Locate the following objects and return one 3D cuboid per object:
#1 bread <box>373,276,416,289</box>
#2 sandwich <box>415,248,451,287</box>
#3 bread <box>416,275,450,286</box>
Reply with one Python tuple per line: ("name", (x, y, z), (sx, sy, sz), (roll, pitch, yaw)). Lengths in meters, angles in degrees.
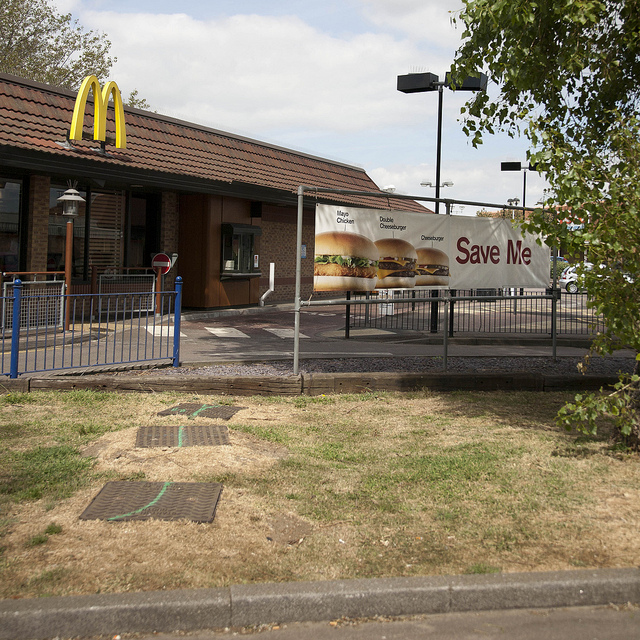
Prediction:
("bread", (1.108, -0.523, 8.916), (0.732, 0.180, 0.112), (-1, 6, -36))
("sandwich", (1.697, -0.782, 9.298), (0.575, 0.411, 0.538), (0, 5, 10))
("bread", (1.704, -0.578, 9.280), (0.642, 0.160, 0.038), (-1, 6, -32))
